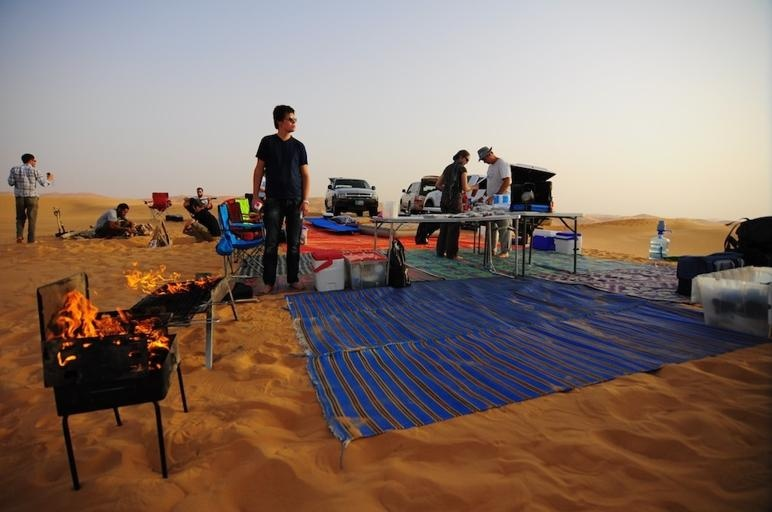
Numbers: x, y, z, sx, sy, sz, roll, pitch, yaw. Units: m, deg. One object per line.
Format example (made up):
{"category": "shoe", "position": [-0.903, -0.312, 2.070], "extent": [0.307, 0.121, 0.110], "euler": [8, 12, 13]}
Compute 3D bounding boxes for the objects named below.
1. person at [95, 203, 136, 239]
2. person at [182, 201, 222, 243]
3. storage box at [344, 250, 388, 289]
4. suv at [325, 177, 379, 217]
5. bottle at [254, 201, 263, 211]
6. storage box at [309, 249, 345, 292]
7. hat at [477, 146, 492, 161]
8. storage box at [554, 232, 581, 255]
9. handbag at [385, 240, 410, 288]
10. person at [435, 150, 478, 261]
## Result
{"category": "person", "position": [-6.821, -0.876, 11.667], "extent": [1.088, 0.758, 0.690], "euler": [9, 5, 10]}
{"category": "person", "position": [-4.562, -0.941, 11.186], "extent": [0.842, 1.055, 0.834], "euler": [-10, 36, -27]}
{"category": "storage box", "position": [-0.287, 0.209, 6.654], "extent": [0.443, 0.369, 0.620], "euler": [-1, 7, -16]}
{"category": "suv", "position": [-1.467, -2.362, 18.215], "extent": [1.706, 1.249, 3.196], "euler": [-1, 1, -19]}
{"category": "bottle", "position": [-1.695, -0.670, 6.134], "extent": [0.126, 0.084, 0.132], "euler": [15, 16, -4]}
{"category": "storage box", "position": [-0.781, 0.150, 6.733], "extent": [0.563, 0.594, 0.691], "euler": [-3, 8, -15]}
{"category": "hat", "position": [1.906, -1.935, 8.779], "extent": [0.242, 0.245, 0.312], "euler": [3, 12, 10]}
{"category": "storage box", "position": [3.873, -0.264, 9.783], "extent": [0.371, 0.371, 0.539], "euler": [-1, 4, -4]}
{"category": "handbag", "position": [0.181, 0.137, 6.921], "extent": [0.482, 0.752, 0.723], "euler": [-6, 9, -2]}
{"category": "person", "position": [1.263, -0.958, 8.772], "extent": [0.574, 2.074, 0.939], "euler": [3, 14, 8]}
